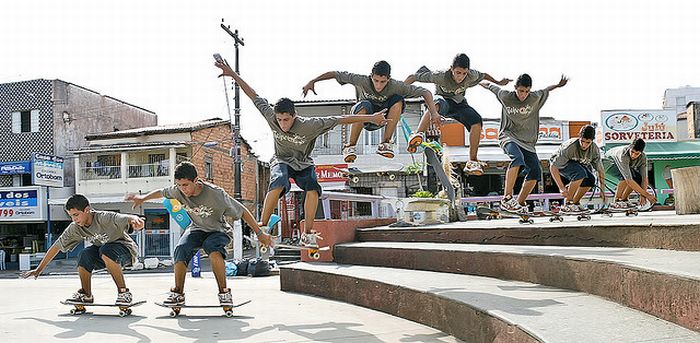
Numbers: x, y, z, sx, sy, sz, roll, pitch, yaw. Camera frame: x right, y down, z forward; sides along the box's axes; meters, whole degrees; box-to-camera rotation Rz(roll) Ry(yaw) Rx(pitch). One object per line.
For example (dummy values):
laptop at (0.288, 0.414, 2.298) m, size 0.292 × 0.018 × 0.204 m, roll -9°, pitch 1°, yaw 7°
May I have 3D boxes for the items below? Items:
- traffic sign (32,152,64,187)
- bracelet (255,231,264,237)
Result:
traffic sign at (-16.878, -0.011, 33.955) m, size 0.330 × 1.324 × 2.197 m, roll -3°, pitch -4°, yaw 24°
bracelet at (-2.479, 1.741, 16.934) m, size 0.230 × 0.071 × 0.124 m, roll -18°, pitch 11°, yaw 29°
